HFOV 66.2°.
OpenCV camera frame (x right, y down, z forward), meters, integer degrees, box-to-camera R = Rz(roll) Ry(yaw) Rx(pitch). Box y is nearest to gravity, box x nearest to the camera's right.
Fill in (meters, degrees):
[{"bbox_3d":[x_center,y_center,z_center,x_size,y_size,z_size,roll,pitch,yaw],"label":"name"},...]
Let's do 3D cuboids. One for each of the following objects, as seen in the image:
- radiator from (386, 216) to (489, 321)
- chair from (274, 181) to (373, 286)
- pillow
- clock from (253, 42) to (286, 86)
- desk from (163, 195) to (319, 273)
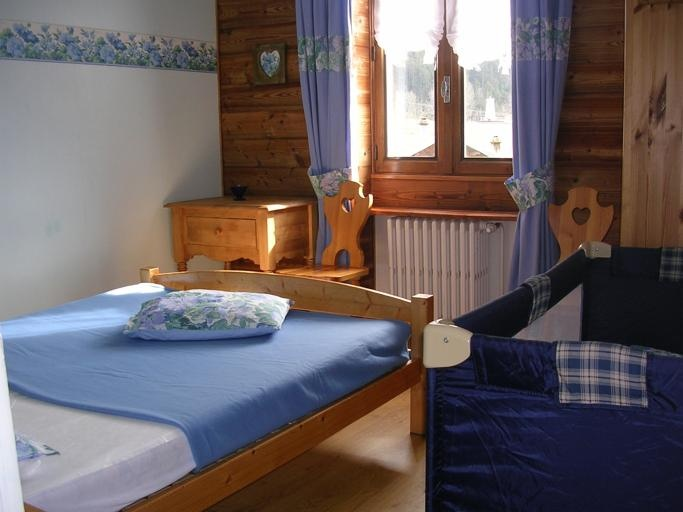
[{"bbox_3d":[0.636,0.057,3.307,0.701,0.719,0.361,2,5,29],"label":"radiator"},{"bbox_3d":[-0.133,-0.135,3.555,0.500,0.776,0.523,7,6,32],"label":"chair"},{"bbox_3d":[-0.610,0.266,2.392,0.718,0.138,0.354,-1,13,-3],"label":"pillow"},{"bbox_3d":[-0.554,-1.485,4.031,0.303,0.284,0.028,10,18,29],"label":"clock"},{"bbox_3d":[-0.753,-0.081,3.962,0.951,0.691,0.713,7,15,32],"label":"desk"}]
